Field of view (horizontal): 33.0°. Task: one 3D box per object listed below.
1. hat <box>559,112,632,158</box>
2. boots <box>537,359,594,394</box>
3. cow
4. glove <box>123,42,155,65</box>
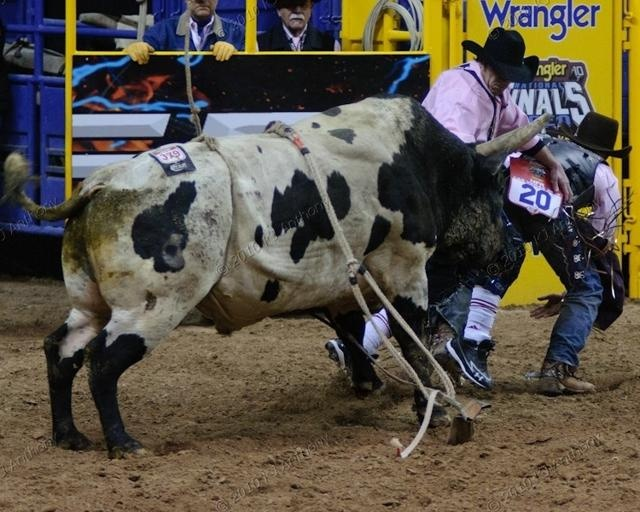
[{"bbox_3d":[2.179,-0.963,8.446,0.613,0.271,0.665,21,9,0],"label":"hat"},{"bbox_3d":[1.749,0.870,7.804,0.548,0.231,0.184,13,-12,-42],"label":"boots"},{"bbox_3d":[-0.256,0.044,6.659,2.851,2.022,0.797,-3,12,-20],"label":"cow"},{"bbox_3d":[-1.510,-1.711,9.105,0.242,0.157,0.100,3,-17,3],"label":"glove"}]
